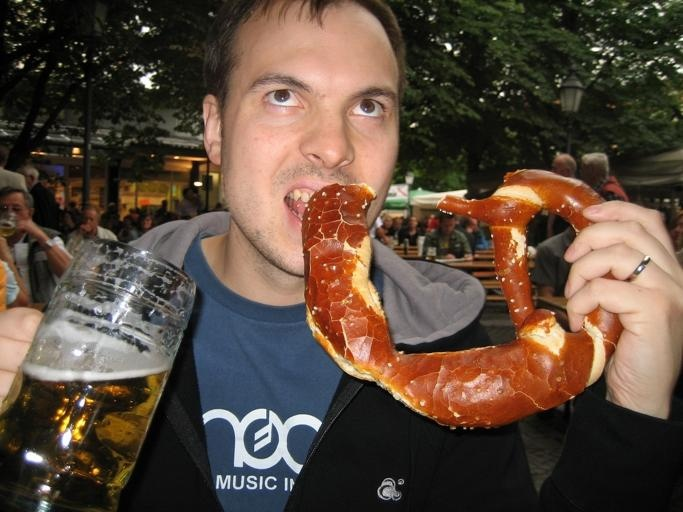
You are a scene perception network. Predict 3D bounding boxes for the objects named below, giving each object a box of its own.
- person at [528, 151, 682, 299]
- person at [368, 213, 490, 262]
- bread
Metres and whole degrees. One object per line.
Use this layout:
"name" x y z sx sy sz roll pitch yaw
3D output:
"person" 2.312 -0.234 6.018 1.531 1.764 0.482 6 -11 -5
"person" 1.511 -0.288 9.825 1.122 0.444 1.365 13 4 36
"bread" 0.419 0.143 2.049 1.139 0.857 0.367 4 1 -6
